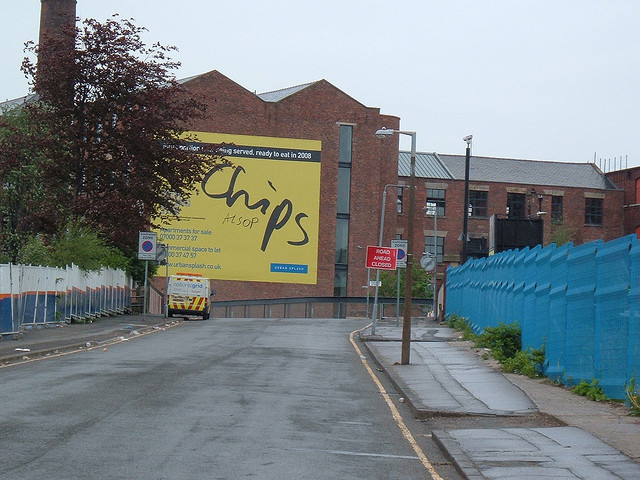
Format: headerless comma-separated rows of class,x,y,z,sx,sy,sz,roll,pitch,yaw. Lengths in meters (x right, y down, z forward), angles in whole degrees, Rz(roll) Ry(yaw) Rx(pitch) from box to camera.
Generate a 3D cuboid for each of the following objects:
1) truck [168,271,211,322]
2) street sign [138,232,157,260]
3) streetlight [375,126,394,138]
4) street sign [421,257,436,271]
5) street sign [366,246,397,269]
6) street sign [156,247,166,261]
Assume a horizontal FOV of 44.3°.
truck,-6.300,2.771,41.816,2.256,2.279,4.101,4,4,12
street sign,-7.297,0.283,33.090,0.690,1.132,0.647,1,-5,-15
streetlight,2.044,-3.505,25.329,0.618,0.337,0.768,0,-2,0
street sign,5.459,1.244,39.544,0.632,0.642,0.716,0,-5,-3
street sign,2.327,0.705,29.849,1.197,0.763,0.021,1,1,-10
street sign,-7.500,0.661,36.870,0.432,0.550,0.645,0,-6,-12
